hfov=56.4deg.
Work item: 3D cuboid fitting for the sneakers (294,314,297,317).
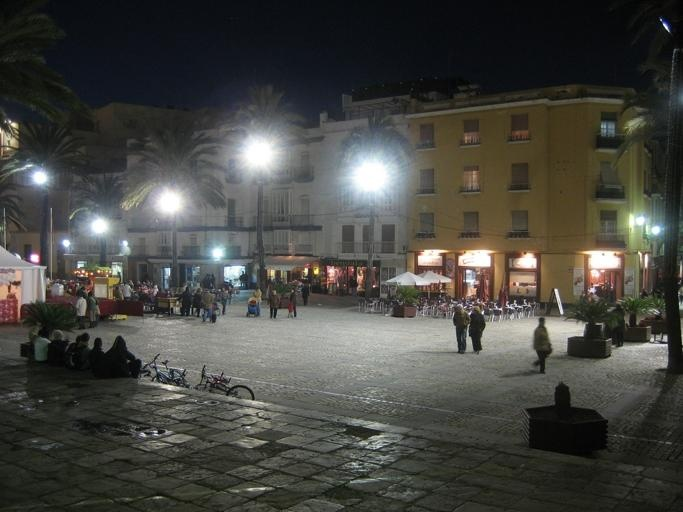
[{"bbox_3d":[-2.724,3.491,37.197,0.095,0.171,0.175,-4,-4,44],"label":"sneakers"}]

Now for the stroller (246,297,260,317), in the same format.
[{"bbox_3d":[-5.179,3.025,37.146,0.790,1.190,1.138,1,-6,-5],"label":"stroller"}]

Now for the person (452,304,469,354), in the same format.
[{"bbox_3d":[4.678,2.879,24.898,0.594,1.791,0.802,0,-3,10],"label":"person"}]

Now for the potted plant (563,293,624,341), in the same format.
[{"bbox_3d":[9.723,2.426,24.617,1.482,1.654,1.538,-4,12,-13],"label":"potted plant"}]

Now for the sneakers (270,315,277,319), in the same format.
[{"bbox_3d":[-3.864,3.488,36.122,0.348,0.198,0.198,-3,8,-18],"label":"sneakers"}]

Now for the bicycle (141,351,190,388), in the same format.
[{"bbox_3d":[-5.434,3.544,19.586,1.325,0.830,0.704,17,7,20],"label":"bicycle"}]

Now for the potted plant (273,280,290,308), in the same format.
[{"bbox_3d":[-3.904,2.656,42.529,1.330,1.755,1.520,0,-1,-22],"label":"potted plant"}]

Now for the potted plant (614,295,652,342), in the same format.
[{"bbox_3d":[12.876,2.819,28.018,1.592,2.001,1.718,-3,2,-40],"label":"potted plant"}]

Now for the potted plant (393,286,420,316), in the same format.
[{"bbox_3d":[3.587,2.777,38.042,1.839,2.274,1.526,2,-2,-30],"label":"potted plant"}]

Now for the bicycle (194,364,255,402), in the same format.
[{"bbox_3d":[-3.161,3.310,17.312,1.696,0.889,1.048,11,-20,-2],"label":"bicycle"}]
